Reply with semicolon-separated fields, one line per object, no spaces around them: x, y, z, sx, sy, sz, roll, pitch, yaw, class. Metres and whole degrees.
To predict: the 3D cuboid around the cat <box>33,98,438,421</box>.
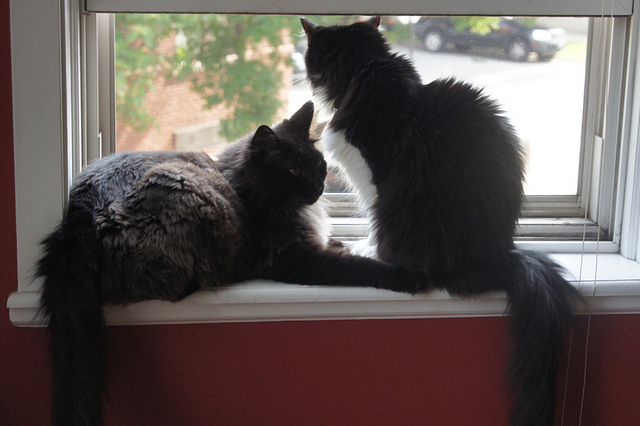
-0.252;0.160;2.238;1.062;0.497;0.745;-12;51;-12;cat
